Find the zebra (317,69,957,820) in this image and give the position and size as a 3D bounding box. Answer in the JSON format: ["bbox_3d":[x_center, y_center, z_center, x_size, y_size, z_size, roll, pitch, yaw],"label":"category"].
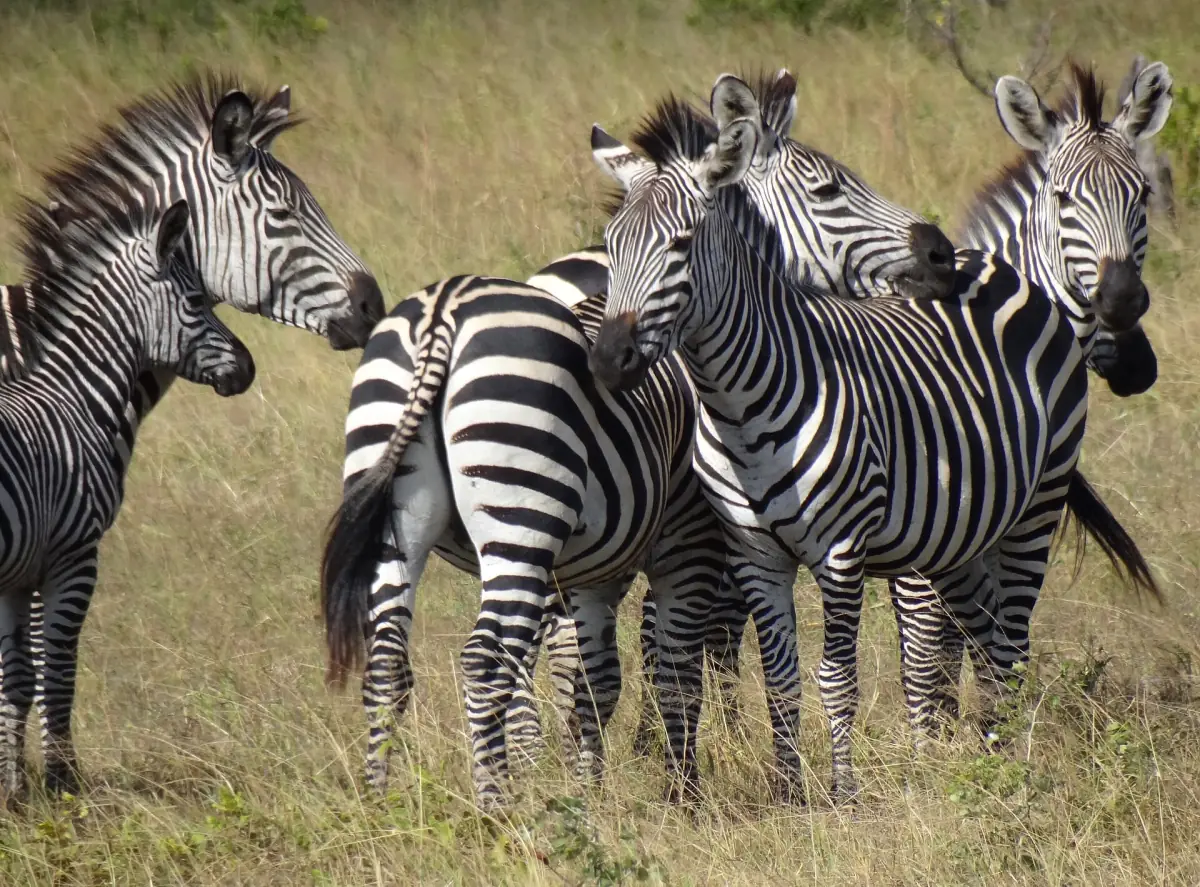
[{"bbox_3d":[0.319,-0.107,8.663,3.736,2.992,1.099,-17,32,-38],"label":"zebra"}]

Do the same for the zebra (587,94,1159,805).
[{"bbox_3d":[1.427,0.081,8.552,3.950,3.255,1.048,-1,1,-41],"label":"zebra"}]
